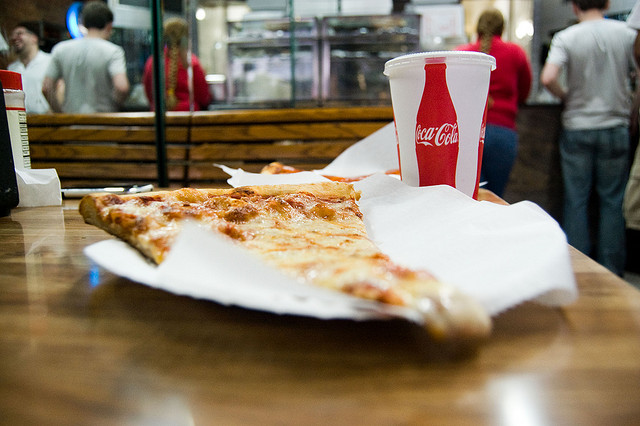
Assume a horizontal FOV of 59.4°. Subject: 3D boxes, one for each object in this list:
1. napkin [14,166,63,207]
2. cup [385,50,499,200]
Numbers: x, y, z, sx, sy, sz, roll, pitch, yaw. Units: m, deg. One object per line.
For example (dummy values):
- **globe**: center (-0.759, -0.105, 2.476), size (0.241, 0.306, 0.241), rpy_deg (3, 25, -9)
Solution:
- **napkin**: center (-0.596, -0.054, 1.185), size (0.085, 0.077, 0.084), rpy_deg (0, 4, 9)
- **cup**: center (0.226, -0.175, 1.209), size (0.279, 0.322, 0.287), rpy_deg (0, 6, 0)
